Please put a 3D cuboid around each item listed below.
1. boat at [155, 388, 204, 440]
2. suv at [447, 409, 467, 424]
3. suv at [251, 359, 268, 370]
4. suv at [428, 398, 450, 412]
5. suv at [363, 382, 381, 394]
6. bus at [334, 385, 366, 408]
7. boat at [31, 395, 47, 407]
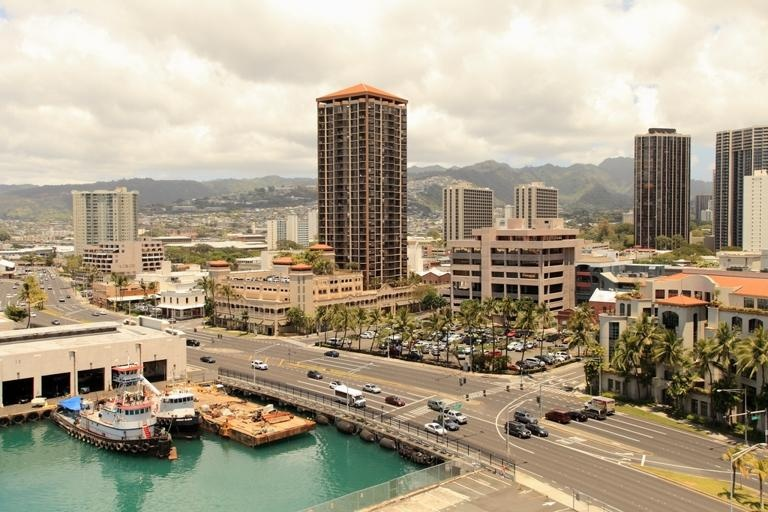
[{"bbox_3d":[-43.657,31.595,124.534,6.228,4.965,11.957,-1,4,-24],"label":"boat"},{"bbox_3d":[14.795,32.190,118.716,1.956,1.327,3.072,-3,1,-38],"label":"suv"},{"bbox_3d":[-32.074,28.185,153.187,3.177,2.311,4.982,2,-1,-34],"label":"suv"},{"bbox_3d":[11.371,31.039,123.941,1.976,1.194,3.358,-1,0,-39],"label":"suv"},{"bbox_3d":[-2.340,29.949,134.146,3.678,2.214,4.079,2,-1,-31],"label":"suv"},{"bbox_3d":[-7.039,30.194,127.232,3.383,2.580,7.406,-12,13,-41],"label":"bus"},{"bbox_3d":[-76.723,32.191,131.239,2.748,1.952,1.933,1,0,-19],"label":"boat"}]
